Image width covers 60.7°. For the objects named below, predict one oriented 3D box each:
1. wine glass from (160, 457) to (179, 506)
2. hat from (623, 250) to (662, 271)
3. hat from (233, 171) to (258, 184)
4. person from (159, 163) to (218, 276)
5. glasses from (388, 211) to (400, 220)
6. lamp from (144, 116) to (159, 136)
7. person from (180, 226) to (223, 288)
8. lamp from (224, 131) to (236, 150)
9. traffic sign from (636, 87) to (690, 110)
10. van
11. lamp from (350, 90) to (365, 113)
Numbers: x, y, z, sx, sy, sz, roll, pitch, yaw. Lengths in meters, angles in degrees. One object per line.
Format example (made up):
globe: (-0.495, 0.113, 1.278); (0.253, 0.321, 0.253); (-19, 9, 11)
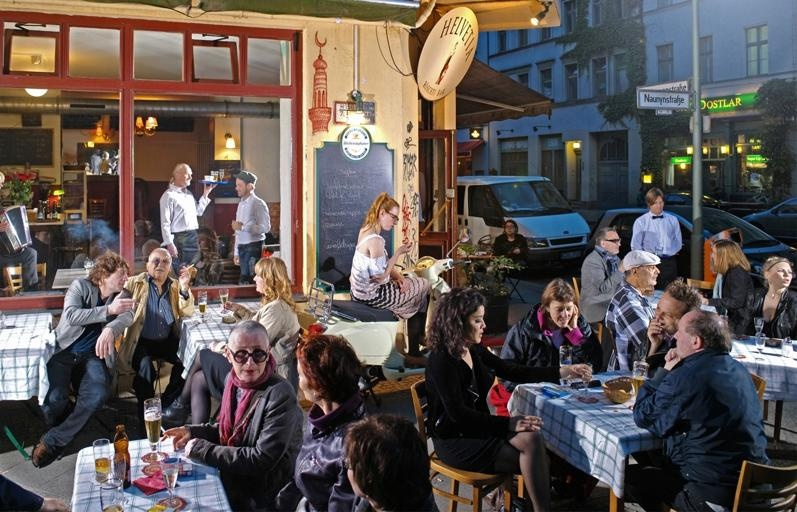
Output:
wine glass: (-1.697, 1.672, 5.111); (0.112, 0.306, 0.283); (-5, 6, -21)
hat: (2.802, 0.037, 7.859); (0.327, 0.168, 0.241); (-13, 6, 14)
hat: (-3.086, -1.601, 13.903); (0.443, 0.187, 0.601); (-2, 14, -25)
person: (-3.624, -0.311, 11.878); (0.983, 2.419, 0.601); (-10, 24, -35)
glasses: (-0.042, -0.552, 9.183); (0.088, 0.119, 0.226); (-1, 7, 19)
lamp: (-5.377, -2.891, 14.899); (0.264, 0.329, 1.990); (-5, 7, -19)
person: (-3.412, 0.015, 12.087); (0.584, 0.947, 0.947); (13, 2, 20)
lamp: (-3.884, -2.650, 15.820); (0.253, 0.377, 0.343); (-1, 1, -14)
traffic sign: (4.708, -2.773, 12.077); (1.393, 0.358, 0.278); (-8, 7, -35)
van: (2.868, -1.019, 17.209); (2.078, 1.715, 3.238); (-2, 4, -27)
lamp: (-0.624, -2.328, 10.221); (0.158, 0.330, 0.081); (-4, 6, -10)
